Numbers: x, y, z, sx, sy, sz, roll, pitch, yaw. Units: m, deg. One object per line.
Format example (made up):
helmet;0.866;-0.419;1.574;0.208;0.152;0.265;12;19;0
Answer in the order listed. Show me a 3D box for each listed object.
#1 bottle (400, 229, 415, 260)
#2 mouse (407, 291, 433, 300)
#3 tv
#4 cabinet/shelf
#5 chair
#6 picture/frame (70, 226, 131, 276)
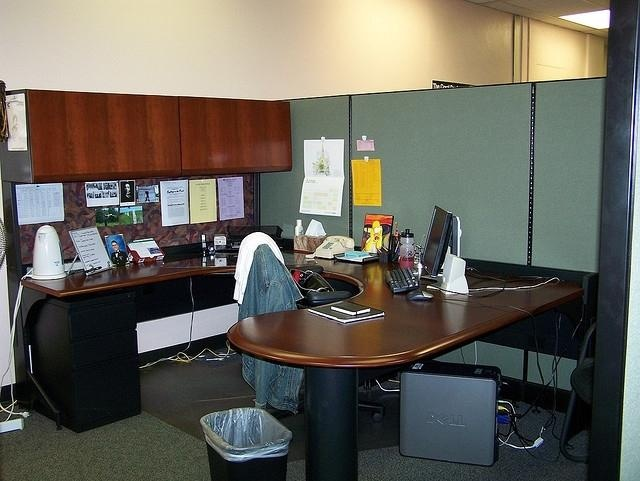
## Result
bottle;0.568;0.014;3.284;0.108;0.195;0.109;11;14;-3
mouse;0.506;0.274;2.503;0.085;0.028;0.052;2;5;25
tv;0.720;0.014;2.889;0.192;0.365;0.398;2;10;0
cabinet/shelf;-0.989;-0.691;3.301;1.730;0.530;0.182;-9;14;-33
chair;-0.124;0.400;3.404;0.921;1.356;0.943;-3;9;-15
picture/frame;-1.431;0.074;3.204;0.032;0.315;0.273;-28;-4;32
